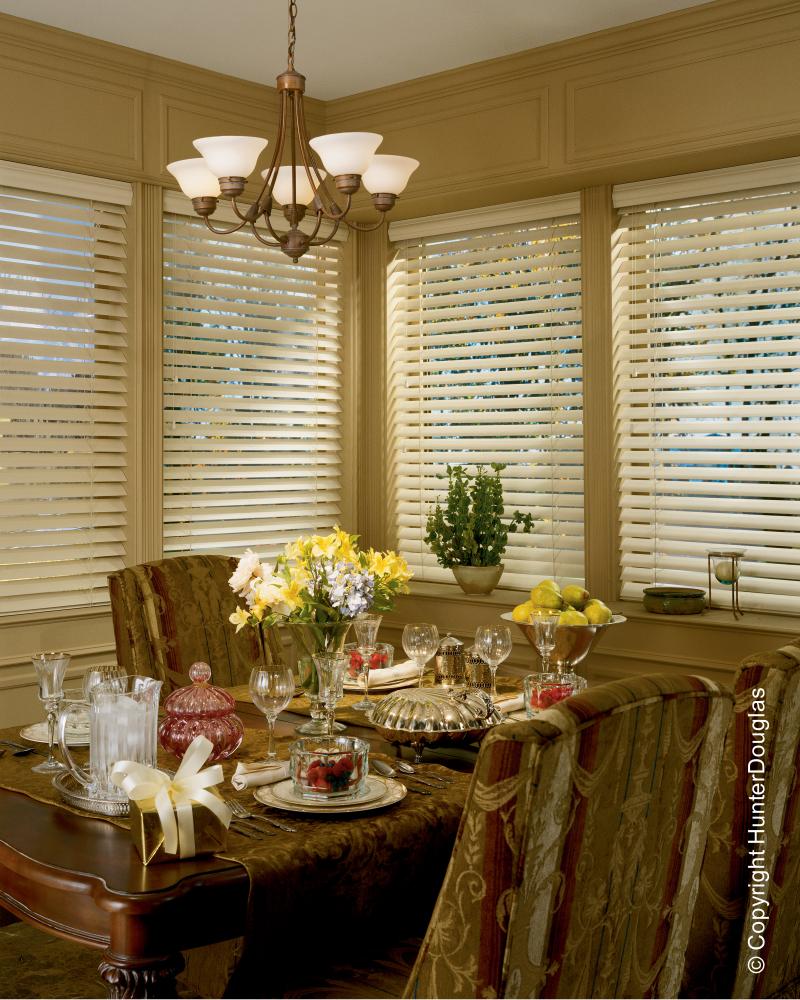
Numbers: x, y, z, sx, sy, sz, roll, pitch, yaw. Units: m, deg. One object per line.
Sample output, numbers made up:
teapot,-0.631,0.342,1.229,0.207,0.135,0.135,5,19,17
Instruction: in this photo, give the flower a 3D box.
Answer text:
flower,-0.155,0.177,1.592,0.298,0.214,0.246,-3,3,12

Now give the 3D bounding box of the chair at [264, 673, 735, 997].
chair,0.120,0.304,0.962,0.402,0.477,0.359,-1,-5,44

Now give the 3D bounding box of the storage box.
storage box,-0.275,0.396,1.014,0.094,0.057,0.091,2,-1,-28

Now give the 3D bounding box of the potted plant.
potted plant,0.316,0.126,3.399,0.570,0.567,0.487,4,-6,-26

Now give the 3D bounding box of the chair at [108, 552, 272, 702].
chair,-0.683,0.382,2.531,0.434,0.557,0.407,4,-9,-35
